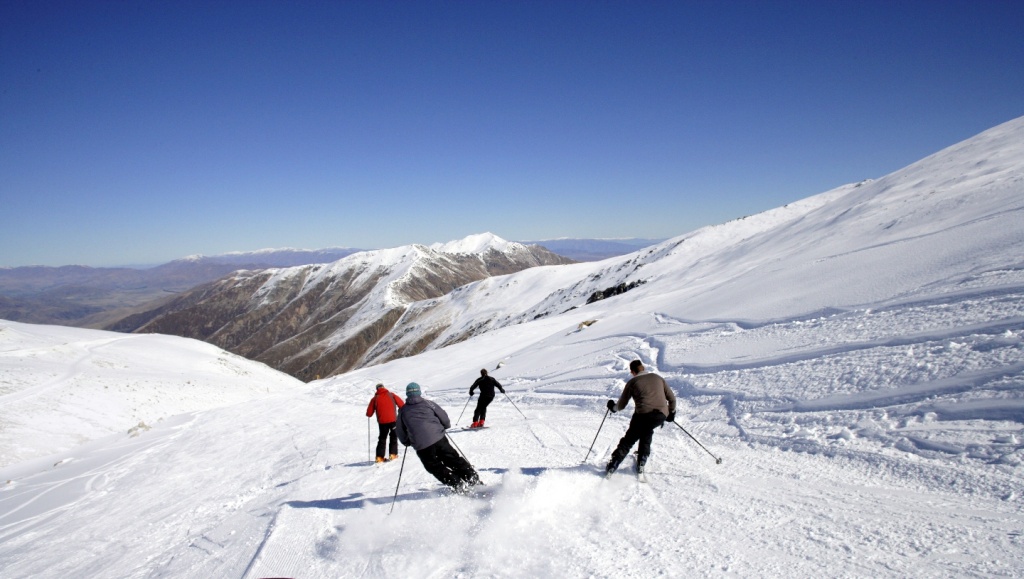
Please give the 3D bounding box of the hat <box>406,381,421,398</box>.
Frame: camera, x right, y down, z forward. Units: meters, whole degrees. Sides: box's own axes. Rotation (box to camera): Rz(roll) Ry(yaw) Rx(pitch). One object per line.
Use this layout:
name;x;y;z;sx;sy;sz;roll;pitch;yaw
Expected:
hat;-4.116;4.121;25.210;0.672;0.607;0.771;-1;6;4

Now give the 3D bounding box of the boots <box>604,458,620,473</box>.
boots;4.136;7.090;24.798;0.303;0.852;0.272;12;-27;47

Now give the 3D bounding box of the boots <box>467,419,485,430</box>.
boots;-1.795;6.679;30.503;0.316;0.359;0.925;7;-8;-44
